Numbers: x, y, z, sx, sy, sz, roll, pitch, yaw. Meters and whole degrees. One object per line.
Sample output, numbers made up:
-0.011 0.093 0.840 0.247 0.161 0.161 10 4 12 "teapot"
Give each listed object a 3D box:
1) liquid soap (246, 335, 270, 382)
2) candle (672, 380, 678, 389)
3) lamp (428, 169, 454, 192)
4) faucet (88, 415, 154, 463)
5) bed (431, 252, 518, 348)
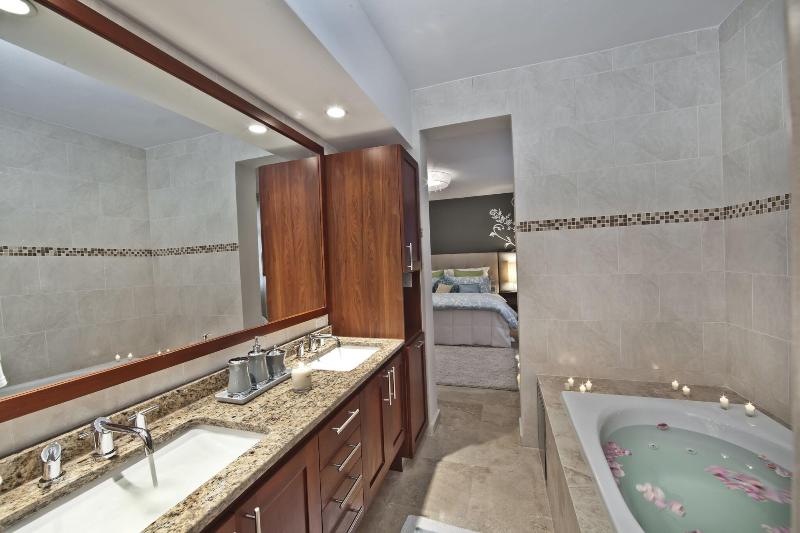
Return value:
-0.810 0.557 2.941 0.124 0.259 0.119 -9 -9 -21 "liquid soap"
1.900 0.812 3.512 0.052 0.057 0.052 0 -3 16 "candle"
0.496 -1.103 6.424 0.425 0.111 0.422 -1 -11 5 "lamp"
-1.313 0.824 2.412 0.295 0.175 0.076 10 20 6 "faucet"
0.817 0.396 7.296 1.410 1.050 2.033 -3 5 7 "bed"
